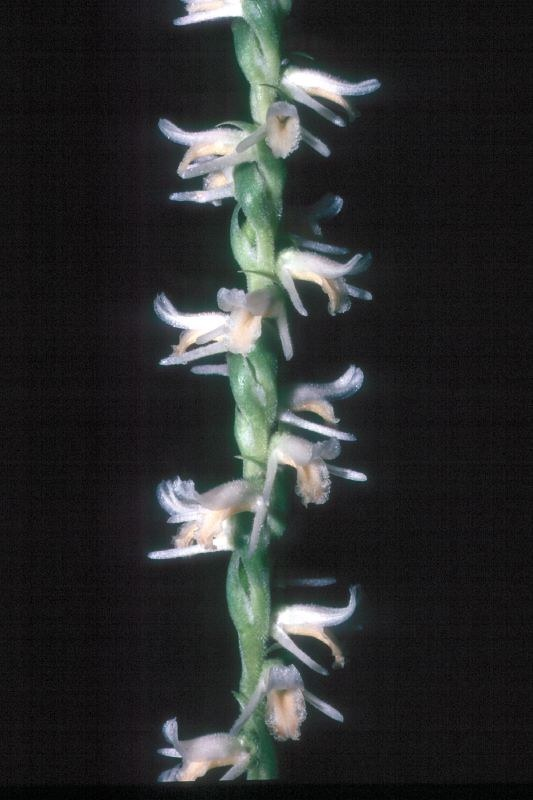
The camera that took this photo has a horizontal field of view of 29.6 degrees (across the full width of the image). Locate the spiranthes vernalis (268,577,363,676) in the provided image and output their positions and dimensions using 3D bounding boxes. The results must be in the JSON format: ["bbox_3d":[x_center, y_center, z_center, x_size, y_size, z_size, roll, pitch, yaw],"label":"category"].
[{"bbox_3d":[0.094,0.408,1.746,0.146,0.145,0.160,-12,-41,10],"label":"spiranthes vernalis"}]

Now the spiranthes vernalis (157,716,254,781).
[{"bbox_3d":[-0.115,0.599,1.729,0.183,0.092,0.085,1,-17,-18],"label":"spiranthes vernalis"}]

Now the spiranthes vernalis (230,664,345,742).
[{"bbox_3d":[0.033,0.471,1.683,0.199,0.129,0.091,-2,2,-6],"label":"spiranthes vernalis"}]
